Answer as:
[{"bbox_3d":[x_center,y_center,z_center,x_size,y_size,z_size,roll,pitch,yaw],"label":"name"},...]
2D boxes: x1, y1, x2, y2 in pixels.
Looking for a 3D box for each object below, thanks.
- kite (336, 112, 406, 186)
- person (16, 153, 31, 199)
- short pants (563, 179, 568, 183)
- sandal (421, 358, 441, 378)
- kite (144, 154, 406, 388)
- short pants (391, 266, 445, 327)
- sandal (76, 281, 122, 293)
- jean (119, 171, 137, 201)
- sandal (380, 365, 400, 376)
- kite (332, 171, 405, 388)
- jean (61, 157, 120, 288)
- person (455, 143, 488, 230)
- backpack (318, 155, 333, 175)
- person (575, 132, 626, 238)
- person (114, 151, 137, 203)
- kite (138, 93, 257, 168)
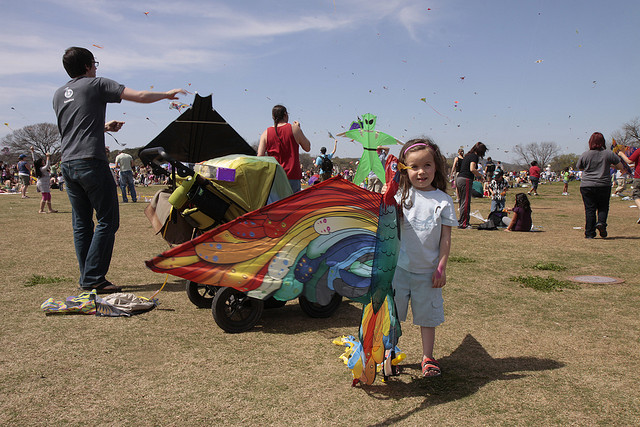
[{"bbox_3d":[0.581,-0.678,4.950,0.935,1.035,0.047,6,-24,-13],"label":"kite"},{"bbox_3d":[-12.520,-1.573,18.473,0.723,1.833,0.581,5,6,30],"label":"person"},{"bbox_3d":[14.483,-1.850,25.379,0.184,0.158,0.940,6,8,33],"label":"short pants"},{"bbox_3d":[1.015,1.358,3.855,0.176,0.173,0.072,2,7,-4],"label":"sandal"},{"bbox_3d":[-0.123,0.432,4.083,1.953,1.951,0.862,5,7,21],"label":"kite"},{"bbox_3d":[0.866,0.707,3.800,0.549,0.544,0.276,2,6,30],"label":"short pants"},{"bbox_3d":[-2.665,0.905,5.262,0.497,0.150,0.176,1,-1,-22],"label":"sandal"},{"bbox_3d":[-7.445,-1.045,16.819,0.531,1.170,1.180,-1,8,-25],"label":"jean"},{"bbox_3d":[0.613,1.354,3.773,0.153,0.147,0.040,-1,4,-10],"label":"sandal"},{"bbox_3d":[0.462,0.556,3.708,0.602,1.827,0.354,-2,8,-28],"label":"kite"},{"bbox_3d":[-2.802,0.109,5.317,0.592,1.563,0.498,-2,8,-31],"label":"jean"},{"bbox_3d":[3.751,-0.700,10.733,0.669,2.015,0.652,4,1,20],"label":"person"},{"bbox_3d":[0.341,-1.820,16.102,0.571,0.586,0.427,0,3,31],"label":"backpack"},{"bbox_3d":[5.746,-0.542,8.930,0.784,2.153,1.044,6,8,33],"label":"person"},{"bbox_3d":[-7.428,-1.430,16.537,0.659,2.037,0.617,-9,7,-41],"label":"person"},{"bbox_3d":[-1.614,-1.137,5.874,1.646,1.033,0.024,1,-18,8],"label":"kite"}]
